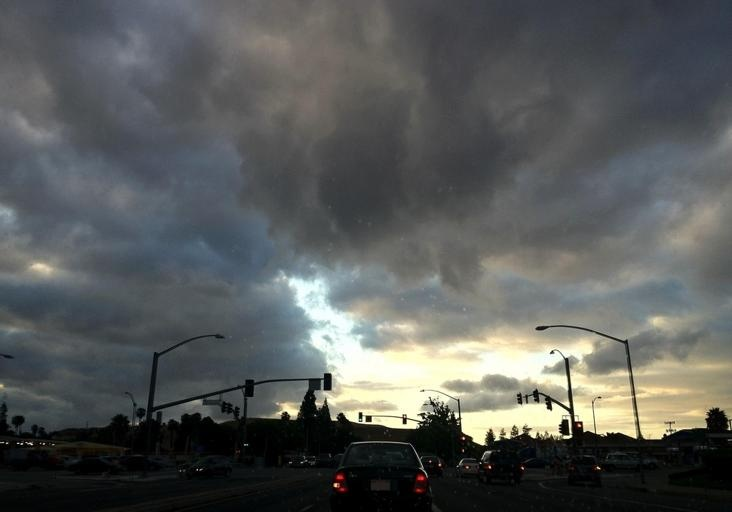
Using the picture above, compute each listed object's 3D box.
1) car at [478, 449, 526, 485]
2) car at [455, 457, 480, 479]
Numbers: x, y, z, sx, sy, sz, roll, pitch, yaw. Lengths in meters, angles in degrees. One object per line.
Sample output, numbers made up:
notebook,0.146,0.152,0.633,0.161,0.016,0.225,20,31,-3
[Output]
car,9.538,14.950,42.639,2.003,1.696,3.536,0,-11,5
car,9.056,19.037,53.597,1.781,1.363,4.292,-1,-18,7
